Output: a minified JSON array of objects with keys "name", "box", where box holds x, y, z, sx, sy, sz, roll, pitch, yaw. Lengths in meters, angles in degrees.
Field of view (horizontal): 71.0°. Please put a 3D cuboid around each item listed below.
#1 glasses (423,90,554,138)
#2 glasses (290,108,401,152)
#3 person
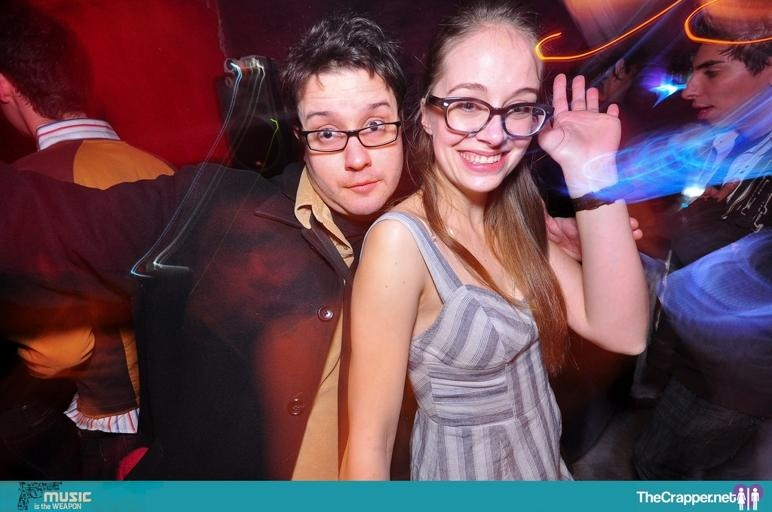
[{"name":"glasses","box":[0.375,-0.501,1.960,0.465,0.159,0.133,-1,31,5]},{"name":"glasses","box":[-0.139,-0.458,2.069,0.410,0.109,0.095,-4,31,0]},{"name":"person","box":[-0.119,-0.082,2.189,1.520,1.514,0.421,-28,19,-4]}]
